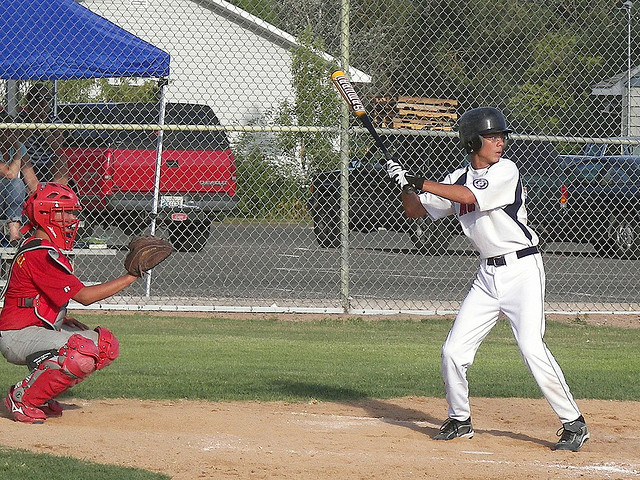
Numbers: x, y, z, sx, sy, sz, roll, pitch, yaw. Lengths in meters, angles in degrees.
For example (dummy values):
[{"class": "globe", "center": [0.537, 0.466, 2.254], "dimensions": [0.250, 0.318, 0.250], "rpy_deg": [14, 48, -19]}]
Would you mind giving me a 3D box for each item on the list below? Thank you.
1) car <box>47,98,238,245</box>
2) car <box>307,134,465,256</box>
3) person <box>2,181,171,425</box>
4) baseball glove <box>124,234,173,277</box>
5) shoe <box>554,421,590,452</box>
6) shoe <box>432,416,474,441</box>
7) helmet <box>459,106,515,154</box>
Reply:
[{"class": "car", "center": [-2.511, -1.087, 15.354], "dimensions": [2.139, 1.265, 3.486], "rpy_deg": [-1, 11, -28]}, {"class": "car", "center": [0.931, -0.805, 17.332], "dimensions": [3.016, 1.481, 1.778], "rpy_deg": [3, 5, 23]}, {"class": "person", "center": [-2.101, 0.524, 8.656], "dimensions": [1.143, 1.959, 0.706], "rpy_deg": [0, 12, -15]}, {"class": "baseball glove", "center": [-1.449, 0.130, 8.555], "dimensions": [0.408, 0.297, 0.139], "rpy_deg": [-33, -11, -17]}, {"class": "shoe", "center": [2.078, 1.593, 8.425], "dimensions": [0.261, 0.240, 0.231], "rpy_deg": [5, 11, 13]}, {"class": "shoe", "center": [1.121, 1.589, 8.610], "dimensions": [0.391, 0.142, 0.145], "rpy_deg": [-1, -1, -18]}, {"class": "helmet", "center": [1.414, -0.951, 8.736], "dimensions": [0.449, 0.326, 0.466], "rpy_deg": [-9, 12, -24]}]
